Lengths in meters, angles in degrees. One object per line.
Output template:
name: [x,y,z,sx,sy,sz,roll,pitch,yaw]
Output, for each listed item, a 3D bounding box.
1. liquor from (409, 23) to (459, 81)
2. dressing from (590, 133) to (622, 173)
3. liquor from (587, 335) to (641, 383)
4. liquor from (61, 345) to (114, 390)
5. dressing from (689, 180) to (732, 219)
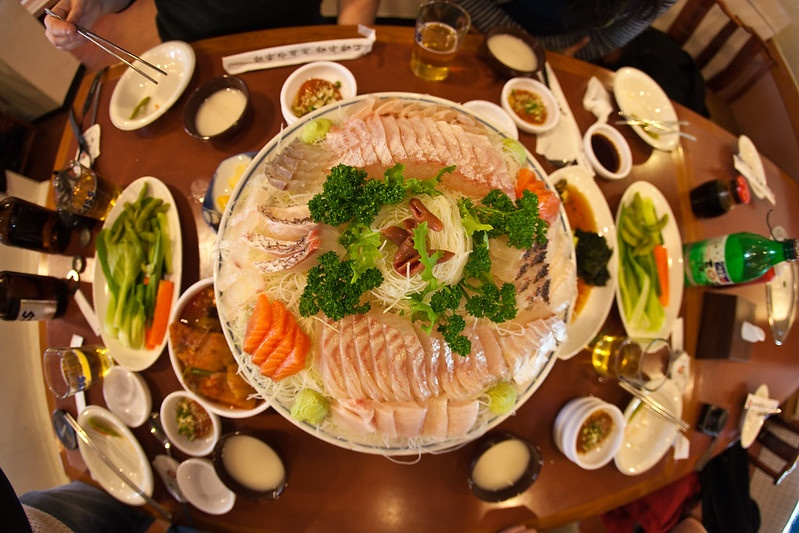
liquor: [0.277,-1.679,4.549,0.341,0.292,0.382,15,84,0]
dressing: [1.650,-0.902,4.765,0.253,0.109,0.304,-8,79,-32]
liquor: [1.676,0.687,4.613,0.288,0.339,0.339,-15,92,5]
liquor: [-2.377,0.775,4.430,0.320,0.165,0.331,-8,85,-2]
dressing: [2.551,-0.543,4.759,0.160,0.269,0.185,-5,85,-34]
